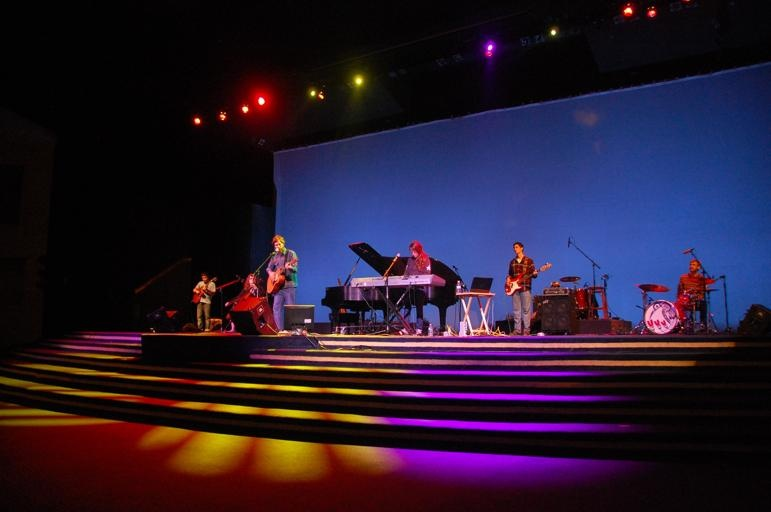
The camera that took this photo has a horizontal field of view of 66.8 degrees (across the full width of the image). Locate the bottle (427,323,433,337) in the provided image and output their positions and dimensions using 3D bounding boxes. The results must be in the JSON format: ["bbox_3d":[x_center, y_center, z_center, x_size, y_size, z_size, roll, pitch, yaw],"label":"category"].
[{"bbox_3d":[0.940,1.565,12.305,0.151,0.445,0.137,-1,-8,4],"label":"bottle"}]

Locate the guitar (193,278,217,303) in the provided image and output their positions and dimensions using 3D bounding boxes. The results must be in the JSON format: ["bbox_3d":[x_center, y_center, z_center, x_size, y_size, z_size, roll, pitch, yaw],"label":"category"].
[{"bbox_3d":[-4.659,0.931,15.339,0.753,0.396,0.234,-36,-12,8],"label":"guitar"}]

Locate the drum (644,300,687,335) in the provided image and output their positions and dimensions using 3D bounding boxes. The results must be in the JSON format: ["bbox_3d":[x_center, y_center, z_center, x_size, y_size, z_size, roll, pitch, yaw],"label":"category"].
[{"bbox_3d":[5.600,1.229,11.793,0.711,0.651,0.326,-3,-6,28],"label":"drum"}]

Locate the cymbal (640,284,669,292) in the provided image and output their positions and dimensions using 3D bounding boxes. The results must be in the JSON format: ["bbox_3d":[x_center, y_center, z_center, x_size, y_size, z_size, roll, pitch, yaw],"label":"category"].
[{"bbox_3d":[5.722,0.682,12.481,0.581,0.176,1.079,-2,-7,25],"label":"cymbal"}]

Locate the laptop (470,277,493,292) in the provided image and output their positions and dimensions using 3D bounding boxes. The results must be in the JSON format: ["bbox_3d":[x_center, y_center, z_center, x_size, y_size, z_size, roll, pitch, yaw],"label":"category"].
[{"bbox_3d":[1.962,0.592,12.072,0.379,0.277,0.336,3,5,0],"label":"laptop"}]

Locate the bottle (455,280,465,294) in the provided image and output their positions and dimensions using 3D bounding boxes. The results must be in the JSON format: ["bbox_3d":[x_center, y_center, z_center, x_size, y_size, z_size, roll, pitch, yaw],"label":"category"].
[{"bbox_3d":[1.586,0.702,12.510,0.113,0.171,0.429,-4,-16,11],"label":"bottle"}]

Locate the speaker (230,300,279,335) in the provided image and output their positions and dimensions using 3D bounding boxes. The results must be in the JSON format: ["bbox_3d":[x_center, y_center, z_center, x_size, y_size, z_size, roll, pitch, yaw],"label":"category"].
[{"bbox_3d":[-2.546,1.199,11.395,0.391,0.665,0.658,-12,-3,20],"label":"speaker"}]

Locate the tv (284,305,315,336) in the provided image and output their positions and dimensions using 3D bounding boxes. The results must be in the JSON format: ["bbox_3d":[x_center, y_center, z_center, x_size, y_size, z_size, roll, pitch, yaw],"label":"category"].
[{"bbox_3d":[-1.808,1.338,12.025,0.592,0.612,0.212,2,0,-8],"label":"tv"}]

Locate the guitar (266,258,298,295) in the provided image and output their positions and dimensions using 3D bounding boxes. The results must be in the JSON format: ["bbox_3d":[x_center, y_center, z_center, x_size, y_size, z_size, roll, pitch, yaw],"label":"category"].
[{"bbox_3d":[-2.115,0.416,11.871,0.557,0.746,0.316,2,-5,-15],"label":"guitar"}]

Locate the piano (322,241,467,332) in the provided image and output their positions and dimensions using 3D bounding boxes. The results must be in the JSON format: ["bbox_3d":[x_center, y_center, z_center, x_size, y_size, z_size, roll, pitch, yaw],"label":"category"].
[{"bbox_3d":[0.012,0.665,12.732,2.609,1.917,1.967,-2,-5,27],"label":"piano"}]

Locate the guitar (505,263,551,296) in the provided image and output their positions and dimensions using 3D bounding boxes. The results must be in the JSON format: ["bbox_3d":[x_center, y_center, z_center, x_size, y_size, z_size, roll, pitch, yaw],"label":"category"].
[{"bbox_3d":[3.063,0.514,12.554,0.728,0.266,0.109,-31,-18,6],"label":"guitar"}]
